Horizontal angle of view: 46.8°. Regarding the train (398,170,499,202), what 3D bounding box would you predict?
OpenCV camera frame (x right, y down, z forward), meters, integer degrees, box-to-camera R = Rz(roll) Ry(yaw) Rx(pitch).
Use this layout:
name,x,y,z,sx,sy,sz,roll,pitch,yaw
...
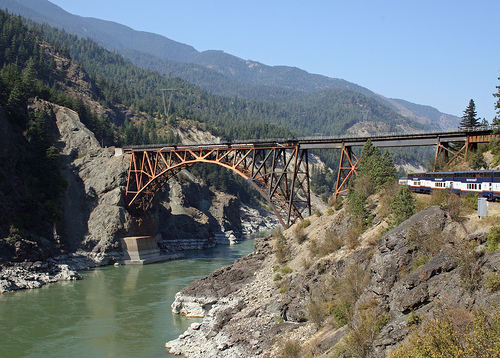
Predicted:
name,x,y,z,sx,sy,sz,roll,pitch,yaw
train,24.793,0.470,70.928,1.646,4.204,14.895,0,6,-21
